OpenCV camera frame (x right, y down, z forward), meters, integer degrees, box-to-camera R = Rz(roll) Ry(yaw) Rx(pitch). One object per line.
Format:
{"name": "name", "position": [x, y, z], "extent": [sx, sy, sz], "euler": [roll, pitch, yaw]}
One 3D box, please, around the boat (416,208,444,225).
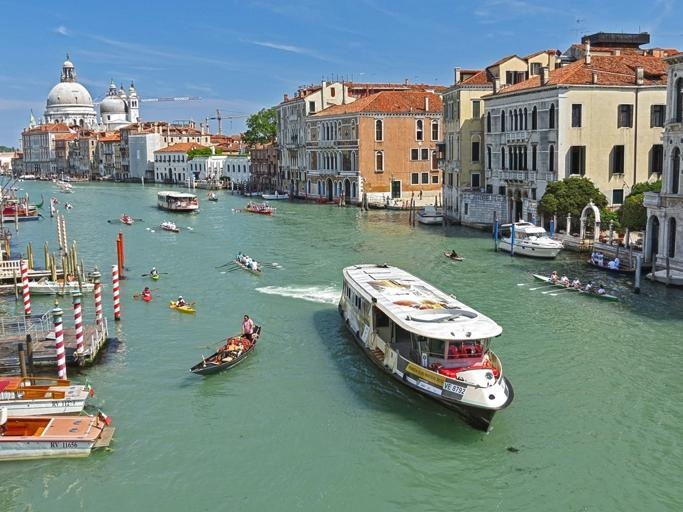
{"name": "boat", "position": [9.753, -4.285, 81.299], "extent": [2.223, 1.626, 6.474], "euler": [-2, 3, -2]}

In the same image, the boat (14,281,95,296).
{"name": "boat", "position": [-18.891, 2.181, 48.322], "extent": [4.059, 0.988, 1.181], "euler": [1, 2, -1]}

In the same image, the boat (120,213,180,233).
{"name": "boat", "position": [-23.113, -3.911, 89.155], "extent": [9.900, 1.340, 1.622], "euler": [14, 30, 32]}
